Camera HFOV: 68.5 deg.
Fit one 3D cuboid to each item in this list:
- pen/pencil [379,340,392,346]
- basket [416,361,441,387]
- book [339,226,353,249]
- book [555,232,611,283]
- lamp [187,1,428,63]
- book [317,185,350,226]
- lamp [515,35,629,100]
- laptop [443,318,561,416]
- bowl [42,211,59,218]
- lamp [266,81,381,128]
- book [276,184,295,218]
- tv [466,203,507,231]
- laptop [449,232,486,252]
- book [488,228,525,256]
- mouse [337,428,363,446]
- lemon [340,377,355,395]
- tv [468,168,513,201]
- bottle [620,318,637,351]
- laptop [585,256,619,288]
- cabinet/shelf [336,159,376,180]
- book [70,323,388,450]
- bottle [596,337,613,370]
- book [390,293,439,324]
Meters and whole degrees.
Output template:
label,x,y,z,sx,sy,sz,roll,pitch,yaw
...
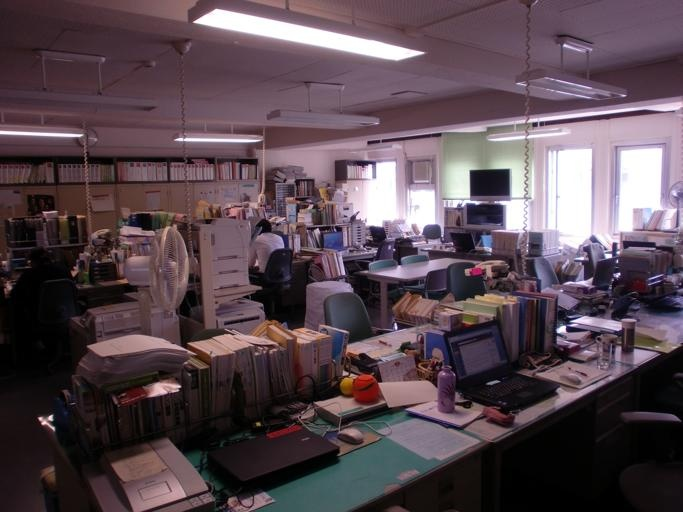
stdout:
label,x,y,z,sx,sy,sz,roll,pitch,yaw
pen/pencil,0.333,0.682,3.918,0.027,0.025,0.113,-4,11,-30
basket,0.596,0.804,3.459,0.124,0.070,0.174,3,1,44
book,0.094,-0.361,8.991,0.349,0.424,0.451,-1,4,-8
book,3.389,0.026,7.062,0.604,0.956,0.749,2,6,42
lamp,-0.185,-1.383,3.128,1.427,0.189,0.368,-10,17,-33
book,-0.118,-0.909,9.091,0.579,0.590,0.806,0,14,1
lamp,2.356,-1.917,5.088,0.985,0.523,2.525,7,16,27
laptop,1.034,0.699,3.270,0.547,0.371,0.530,-10,17,-33
bowl,-4.254,-0.601,7.385,0.190,0.081,0.183,-1,2,0
lamp,-0.209,-2.150,7.253,1.236,0.569,2.541,1,14,5
book,-1.290,-1.274,11.216,0.390,0.667,0.737,0,14,3
tv,2.557,-0.701,8.936,0.828,0.528,0.458,7,13,38
laptop,2.137,-0.251,8.522,0.346,0.336,0.498,-11,10,-40
book,2.537,-0.200,7.767,0.253,0.314,0.447,-5,8,-28
mouse,0.059,1.009,2.803,0.070,0.035,0.115,-4,3,-43
lemon,0.031,0.835,3.245,0.103,0.095,0.110,1,-36,-19
tv,2.849,-1.368,9.648,0.110,0.582,0.834,-5,7,-44
bottle,2.171,0.596,3.810,0.107,0.239,0.164,8,17,30
laptop,2.919,0.184,5.576,0.498,0.338,0.338,2,-5,-44
cabinet/shelf,0.383,-2.180,12.755,1.093,0.514,0.444,-9,17,-30
book,-0.761,0.707,2.927,1.420,0.576,0.410,-9,17,-31
bottle,1.860,0.671,3.558,0.115,0.209,0.217,8,17,29
book,0.671,0.488,4.598,0.262,0.107,0.359,6,11,36
